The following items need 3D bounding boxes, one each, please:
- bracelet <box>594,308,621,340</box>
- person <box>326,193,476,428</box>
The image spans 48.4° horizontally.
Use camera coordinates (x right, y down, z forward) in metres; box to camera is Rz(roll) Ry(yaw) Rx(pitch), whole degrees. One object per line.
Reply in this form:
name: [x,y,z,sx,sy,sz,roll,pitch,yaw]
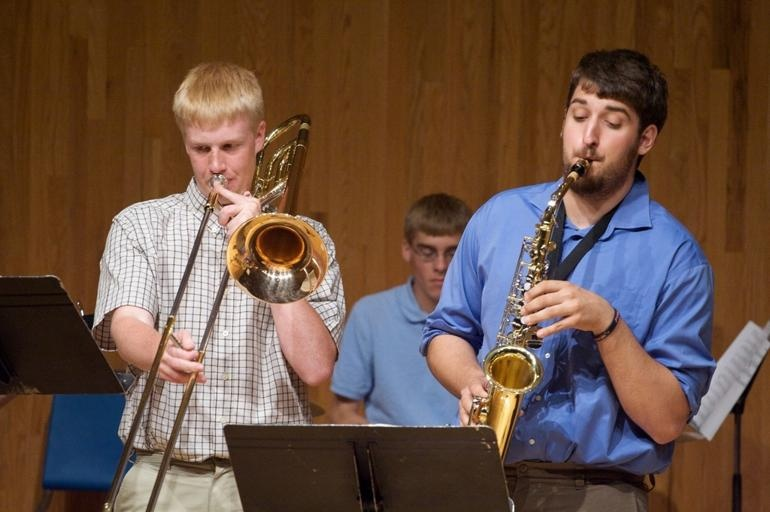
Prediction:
bracelet: [0.843,0.270,3.225,0.040,0.109,0.089,26,-4,-20]
person: [0.078,0.363,4.595,0.700,1.117,0.907,2,-25,-3]
